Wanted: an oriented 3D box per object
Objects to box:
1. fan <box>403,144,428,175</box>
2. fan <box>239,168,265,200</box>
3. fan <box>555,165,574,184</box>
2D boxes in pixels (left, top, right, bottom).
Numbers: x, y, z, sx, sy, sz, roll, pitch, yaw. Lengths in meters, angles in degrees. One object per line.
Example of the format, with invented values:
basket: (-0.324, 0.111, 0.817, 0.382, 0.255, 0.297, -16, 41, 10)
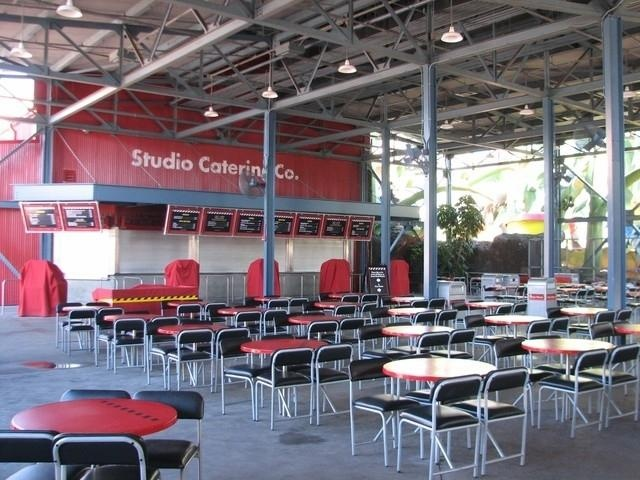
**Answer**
fan: (2.162, -1.828, 13.919, 0.851, 0.809, 0.327, 1, 12, 0)
fan: (-1.813, -1.517, 16.557, 0.629, 0.631, 0.990, 0, 6, -4)
fan: (9.851, -2.609, 24.833, 0.886, 0.668, 0.186, -4, -8, 5)
